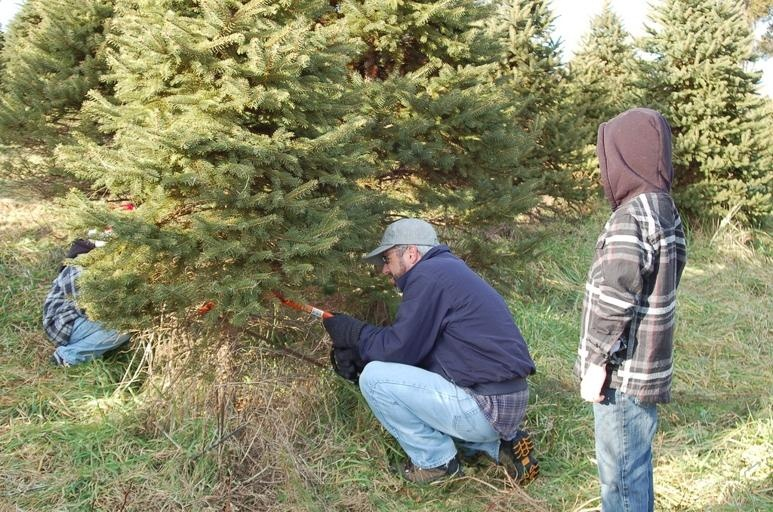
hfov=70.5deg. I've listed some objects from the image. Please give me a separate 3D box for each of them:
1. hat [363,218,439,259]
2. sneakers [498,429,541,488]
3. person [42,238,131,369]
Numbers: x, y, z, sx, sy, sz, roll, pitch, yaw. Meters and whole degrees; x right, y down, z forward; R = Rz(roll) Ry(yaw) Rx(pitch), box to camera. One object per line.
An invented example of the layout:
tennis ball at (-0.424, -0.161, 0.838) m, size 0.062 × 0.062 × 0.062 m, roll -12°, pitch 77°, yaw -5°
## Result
hat at (0.117, -0.152, 5.233) m, size 0.797 × 0.334 × 0.455 m, roll -7°, pitch -6°, yaw -5°
sneakers at (1.208, 1.823, 5.065) m, size 0.306 × 0.490 × 0.282 m, roll -36°, pitch 2°, yaw 4°
person at (-3.327, 0.663, 5.994) m, size 1.111 × 1.423 × 0.338 m, roll 9°, pitch -2°, yaw 24°
